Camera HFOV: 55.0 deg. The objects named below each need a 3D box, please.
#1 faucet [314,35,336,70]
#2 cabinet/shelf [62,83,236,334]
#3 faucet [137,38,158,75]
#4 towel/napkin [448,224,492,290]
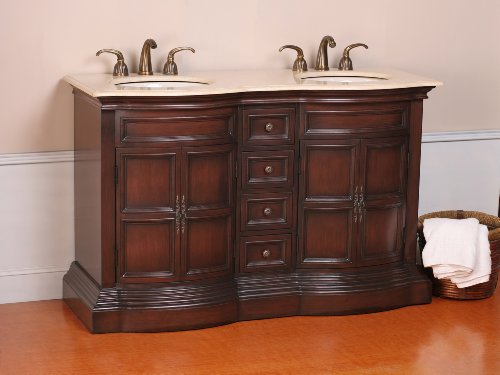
[{"bbox_3d":[0.408,-0.727,2.598,0.078,0.178,0.196,-3,13,-11],"label":"faucet"},{"bbox_3d":[-0.377,0.088,2.340,0.874,1.036,0.616,-2,2,-22],"label":"cabinet/shelf"},{"bbox_3d":[-0.522,-0.650,2.407,0.089,0.180,0.166,-3,5,-13],"label":"faucet"},{"bbox_3d":[1.149,0.362,2.463,0.237,0.283,0.081,-5,-34,20],"label":"towel/napkin"}]
